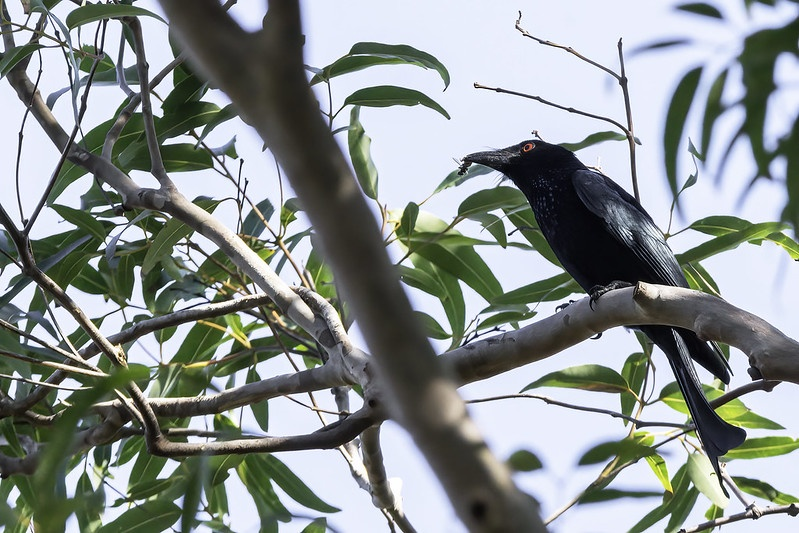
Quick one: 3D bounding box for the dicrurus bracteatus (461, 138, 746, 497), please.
[{"bbox_3d":[0.793,0.050,3.655,1.482,0.663,0.394,33,-33,-9],"label":"dicrurus bracteatus"}]
